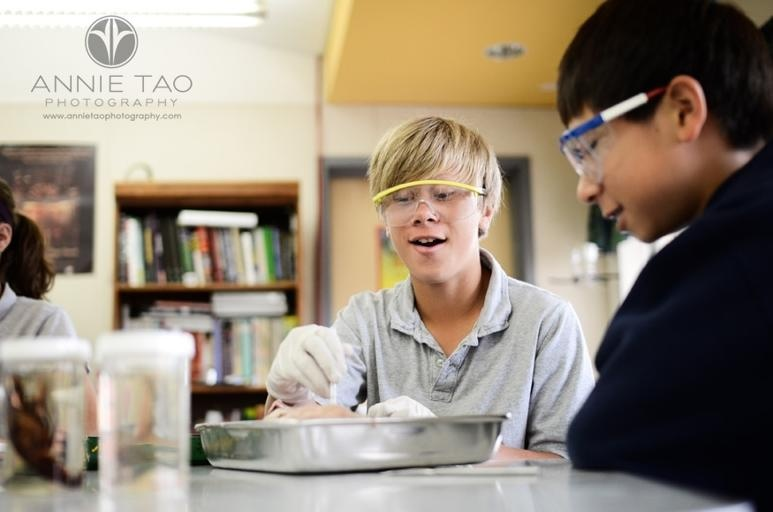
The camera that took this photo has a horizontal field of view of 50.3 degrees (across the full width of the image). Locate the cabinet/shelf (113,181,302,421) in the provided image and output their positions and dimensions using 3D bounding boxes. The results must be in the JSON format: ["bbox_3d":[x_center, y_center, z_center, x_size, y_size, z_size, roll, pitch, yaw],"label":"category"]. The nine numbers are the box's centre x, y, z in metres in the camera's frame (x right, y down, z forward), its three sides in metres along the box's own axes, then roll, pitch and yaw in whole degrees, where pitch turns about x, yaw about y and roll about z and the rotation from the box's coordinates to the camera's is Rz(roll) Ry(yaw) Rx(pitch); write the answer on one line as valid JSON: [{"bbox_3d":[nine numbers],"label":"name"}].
[{"bbox_3d":[-0.671,0.007,2.785,0.464,0.225,0.766,9,-41,-12],"label":"cabinet/shelf"}]

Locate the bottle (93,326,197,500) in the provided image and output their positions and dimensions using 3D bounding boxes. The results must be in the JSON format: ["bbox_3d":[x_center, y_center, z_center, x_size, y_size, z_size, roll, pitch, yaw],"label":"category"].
[{"bbox_3d":[-0.360,0.238,1.232,0.136,0.246,0.068,-4,10,-10],"label":"bottle"}]

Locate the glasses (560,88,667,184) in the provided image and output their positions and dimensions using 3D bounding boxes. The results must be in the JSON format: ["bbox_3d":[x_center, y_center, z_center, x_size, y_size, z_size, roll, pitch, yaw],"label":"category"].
[{"bbox_3d":[0.397,-0.222,1.508,0.154,0.050,0.154,-30,0,7],"label":"glasses"}]
